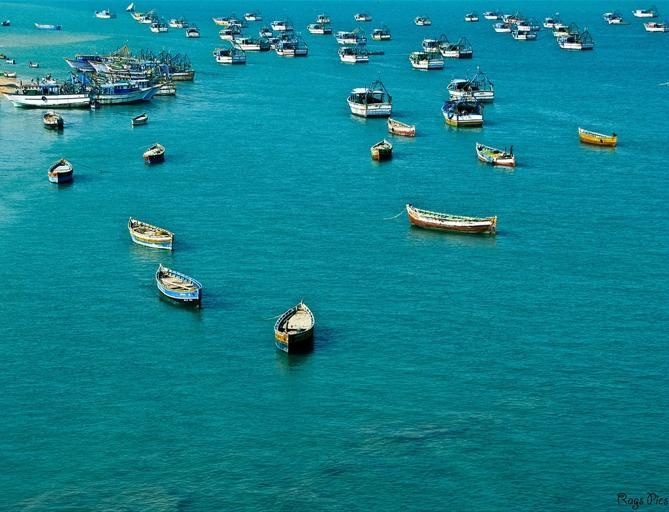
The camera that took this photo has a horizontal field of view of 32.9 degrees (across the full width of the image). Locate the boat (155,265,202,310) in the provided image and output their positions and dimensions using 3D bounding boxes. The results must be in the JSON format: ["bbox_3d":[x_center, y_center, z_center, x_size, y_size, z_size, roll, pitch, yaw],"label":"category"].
[{"bbox_3d":[-19.895,4.192,145.219,3.948,2.762,7.750,-14,25,-27],"label":"boat"}]

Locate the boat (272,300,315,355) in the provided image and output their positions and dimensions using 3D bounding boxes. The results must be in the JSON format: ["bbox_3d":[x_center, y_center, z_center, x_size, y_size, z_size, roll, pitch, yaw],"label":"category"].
[{"bbox_3d":[-4.814,8.593,137.262,4.604,3.466,7.470,-1,22,1],"label":"boat"}]

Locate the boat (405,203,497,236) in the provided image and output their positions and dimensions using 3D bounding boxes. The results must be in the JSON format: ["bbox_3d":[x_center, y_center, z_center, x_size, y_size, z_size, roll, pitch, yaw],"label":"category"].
[{"bbox_3d":[17.067,-5.213,164.361,12.676,3.112,2.395,7,25,19],"label":"boat"}]
